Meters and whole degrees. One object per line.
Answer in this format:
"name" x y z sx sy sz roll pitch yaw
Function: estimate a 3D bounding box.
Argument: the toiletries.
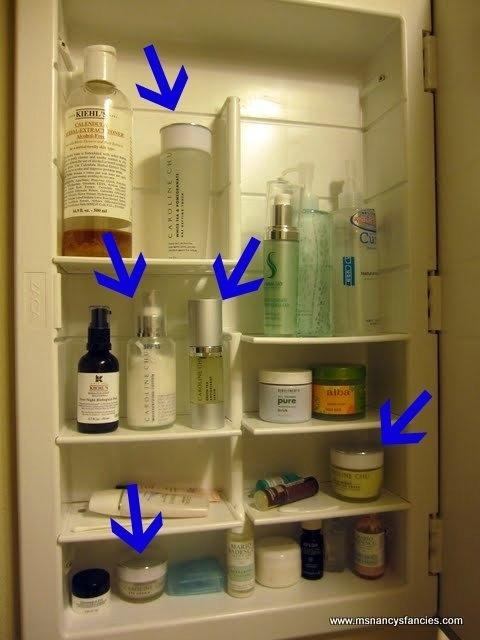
"toiletries" -0.015 0.018 0.760 0.344 0.917 0.246 3 -3 -7

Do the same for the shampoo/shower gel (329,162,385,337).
"shampoo/shower gel" 0.149 -0.101 0.787 0.061 0.218 0.063 1 9 -14

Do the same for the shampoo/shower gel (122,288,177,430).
"shampoo/shower gel" -0.112 0.049 0.713 0.061 0.178 0.059 0 -3 -14

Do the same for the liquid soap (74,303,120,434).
"liquid soap" -0.176 0.055 0.693 0.053 0.154 0.053 0 -3 -13

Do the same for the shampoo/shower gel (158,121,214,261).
"shampoo/shower gel" -0.071 -0.164 0.721 0.067 0.197 0.054 0 -3 -16
